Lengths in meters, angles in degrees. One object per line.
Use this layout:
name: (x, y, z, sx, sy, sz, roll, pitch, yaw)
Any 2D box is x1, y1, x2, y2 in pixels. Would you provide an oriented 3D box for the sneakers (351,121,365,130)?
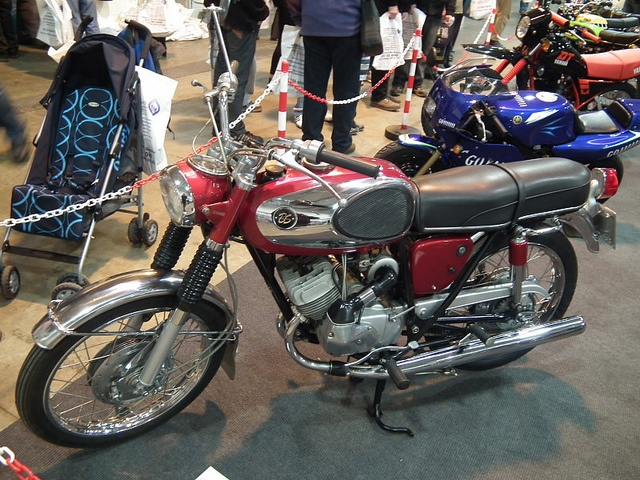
sneakers: (0.386, -1.260, 5.452, 0.210, 0.068, 0.058, 4, 53, 8)

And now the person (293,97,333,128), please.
person: (-0.084, -1.493, 5.670, 0.305, 0.274, 0.697, 2, 35, 6)

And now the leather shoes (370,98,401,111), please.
leather shoes: (0.788, -1.735, 6.280, 0.396, 0.128, 0.136, 11, 40, 18)

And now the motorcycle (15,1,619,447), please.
motorcycle: (0.044, 0.144, 2.267, 2.622, 1.697, 0.856, -7, 36, -23)
